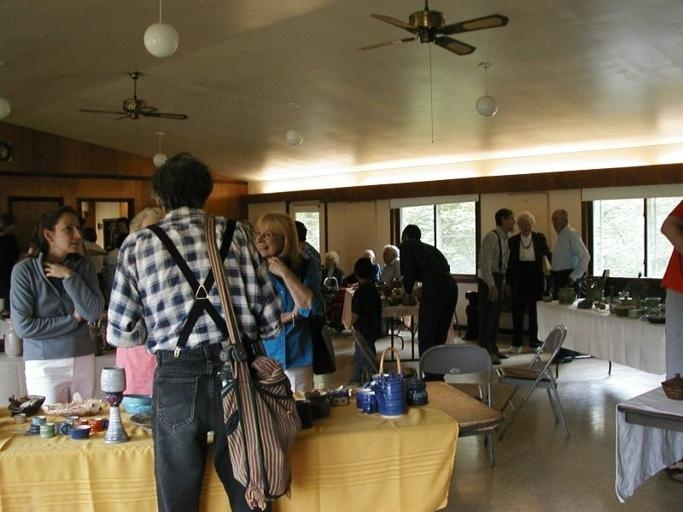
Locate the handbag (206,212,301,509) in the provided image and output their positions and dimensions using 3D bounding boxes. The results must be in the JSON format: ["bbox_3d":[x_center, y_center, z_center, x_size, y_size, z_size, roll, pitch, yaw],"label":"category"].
[{"bbox_3d":[-0.410,0.479,2.697,0.407,1.322,0.249,-2,5,1],"label":"handbag"}]

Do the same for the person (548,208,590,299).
[{"bbox_3d":[2.955,-0.016,7.788,0.437,1.170,0.556,-2,5,-3],"label":"person"}]

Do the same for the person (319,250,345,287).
[{"bbox_3d":[-0.167,0.223,10.257,0.448,0.905,0.799,0,-3,-7],"label":"person"}]

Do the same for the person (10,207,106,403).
[{"bbox_3d":[-1.792,0.316,3.776,0.528,1.235,0.251,-5,6,-32],"label":"person"}]

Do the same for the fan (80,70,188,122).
[{"bbox_3d":[-2.609,-2.005,7.484,1.344,0.604,1.519,12,16,27],"label":"fan"}]

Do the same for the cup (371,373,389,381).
[{"bbox_3d":[0.218,0.683,3.352,0.057,0.027,0.079,-1,-4,9],"label":"cup"}]

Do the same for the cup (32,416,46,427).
[{"bbox_3d":[-1.613,0.867,3.166,0.057,0.046,0.060,1,0,0],"label":"cup"}]

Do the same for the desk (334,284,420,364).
[{"bbox_3d":[0.748,0.967,8.385,1.285,0.677,0.897,0,4,-16],"label":"desk"}]

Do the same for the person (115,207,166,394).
[{"bbox_3d":[-1.465,0.129,4.243,0.335,0.805,0.176,2,18,-35],"label":"person"}]

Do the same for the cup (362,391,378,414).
[{"bbox_3d":[0.155,0.803,3.282,0.081,0.088,0.086,0,-7,0],"label":"cup"}]

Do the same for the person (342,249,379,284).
[{"bbox_3d":[0.403,0.178,10.507,0.284,0.542,1.214,4,-14,-11],"label":"person"}]

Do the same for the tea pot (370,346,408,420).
[{"bbox_3d":[0.281,0.688,3.259,0.338,0.379,0.163,2,-12,-35],"label":"tea pot"}]

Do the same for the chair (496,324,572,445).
[{"bbox_3d":[1.690,1.078,5.334,0.593,0.912,0.563,0,1,20],"label":"chair"}]

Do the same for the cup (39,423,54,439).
[{"bbox_3d":[-1.501,0.886,3.026,0.063,0.067,0.067,1,-1,0],"label":"cup"}]

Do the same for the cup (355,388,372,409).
[{"bbox_3d":[0.117,0.780,3.259,0.080,0.085,0.085,-1,-2,0],"label":"cup"}]
